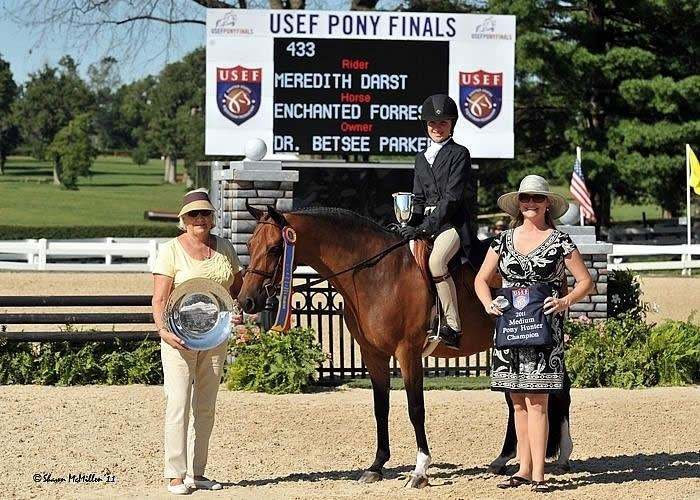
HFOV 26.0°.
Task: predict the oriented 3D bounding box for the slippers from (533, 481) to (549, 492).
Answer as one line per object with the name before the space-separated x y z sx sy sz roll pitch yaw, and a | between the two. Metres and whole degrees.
slippers | 4.637 5.731 37.057 0.353 0.231 0.137 4 14 3

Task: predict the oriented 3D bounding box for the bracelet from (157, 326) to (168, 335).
bracelet | -4.566 1.939 36.854 0.285 0.163 0.070 6 13 19

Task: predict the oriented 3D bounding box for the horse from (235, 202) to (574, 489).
horse | 1.691 2.527 38.373 8.031 6.824 2.128 0 -6 -24

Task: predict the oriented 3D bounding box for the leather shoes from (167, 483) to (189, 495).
leather shoes | -4.215 5.723 36.957 0.457 0.193 0.258 -2 -1 45

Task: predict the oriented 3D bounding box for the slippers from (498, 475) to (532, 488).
slippers | 4.037 5.630 37.250 0.762 0.234 0.318 2 -1 -4

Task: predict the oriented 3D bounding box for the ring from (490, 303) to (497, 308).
ring | 3.487 1.344 36.974 0.089 0.100 0.031 -1 -9 16

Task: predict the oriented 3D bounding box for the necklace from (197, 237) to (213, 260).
necklace | -3.557 -0.035 37.125 0.330 0.500 0.112 -4 -9 40
